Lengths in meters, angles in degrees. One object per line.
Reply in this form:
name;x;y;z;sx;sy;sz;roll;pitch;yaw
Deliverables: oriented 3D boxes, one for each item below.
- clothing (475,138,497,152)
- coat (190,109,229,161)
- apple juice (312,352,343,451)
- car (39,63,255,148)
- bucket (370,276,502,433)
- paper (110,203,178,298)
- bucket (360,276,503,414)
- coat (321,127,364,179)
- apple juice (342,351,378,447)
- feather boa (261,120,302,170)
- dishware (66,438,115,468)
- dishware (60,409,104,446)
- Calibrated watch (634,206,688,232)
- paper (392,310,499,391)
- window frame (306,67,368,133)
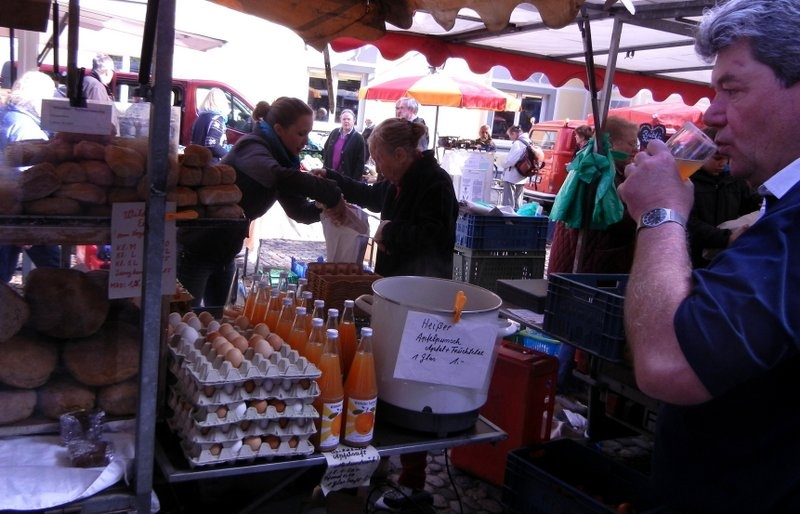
clothing;1.605;-2.215;10.709;0.488;0.218;0.391;26;24;34
coat;-2.801;-1.813;8.097;0.446;0.782;0.728;-6;26;-33
apple juice;-0.246;0.509;1.911;0.092;0.331;0.073;2;9;-1
car;-3.738;-2.545;9.335;2.225;1.075;1.191;2;26;-18
bucket;0.126;0.405;2.187;0.624;0.471;0.525;6;1;12
paper;-0.841;-0.010;1.835;0.238;0.347;0.217;-6;12;-42
bucket;0.137;0.335;2.198;0.634;0.432;0.507;1;10;-10
coat;-0.902;-1.733;8.882;0.729;0.763;0.425;20;32;15
apple juice;-0.142;0.504;1.947;0.111;0.335;0.074;2;9;-5
feather boa;-0.868;-0.802;3.934;0.140;0.341;0.269;-36;22;9
dishware;-1.008;0.642;1.773;0.126;0.057;0.090;2;7;-12
dishware;-1.053;0.556;1.823;0.116;0.099;0.116;1;0;35
Calibrated watch;0.810;-0.121;1.679;0.122;0.072;0.107;2;-31;18
paper;0.148;0.329;1.943;0.303;0.203;0.015;9;12;-18
window frame;-1.945;-4.783;16.304;2.144;1.761;0.189;-10;17;-41
